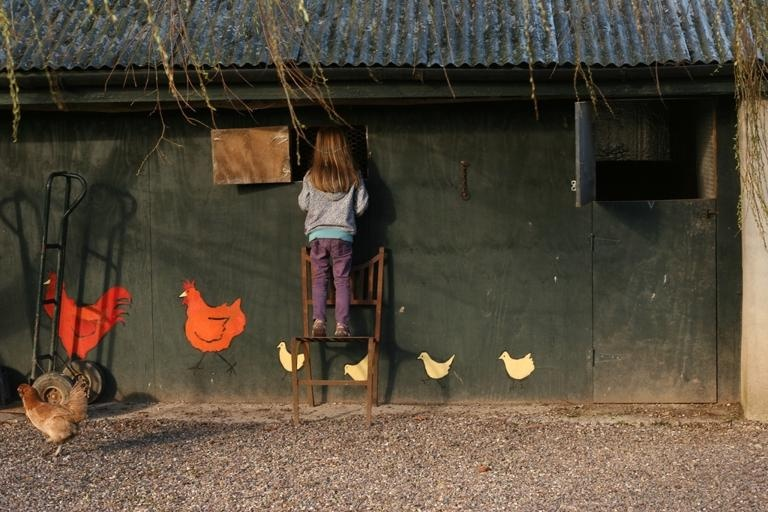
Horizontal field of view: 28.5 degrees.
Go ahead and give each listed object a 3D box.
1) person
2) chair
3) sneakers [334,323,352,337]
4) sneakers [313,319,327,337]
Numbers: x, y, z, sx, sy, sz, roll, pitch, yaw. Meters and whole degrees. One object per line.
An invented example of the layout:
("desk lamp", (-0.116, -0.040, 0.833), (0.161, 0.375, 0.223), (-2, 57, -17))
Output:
("person", (-0.561, -0.265, 16.723), (0.639, 2.258, 0.704), (1, -5, 3))
("chair", (-0.479, 0.810, 16.553), (0.993, 1.947, 1.155), (3, -6, -12))
("sneakers", (-0.451, 0.785, 16.397), (0.156, 0.146, 0.217), (-1, 5, -4))
("sneakers", (-0.696, 0.762, 16.343), (0.146, 0.184, 0.146), (-1, 5, -9))
